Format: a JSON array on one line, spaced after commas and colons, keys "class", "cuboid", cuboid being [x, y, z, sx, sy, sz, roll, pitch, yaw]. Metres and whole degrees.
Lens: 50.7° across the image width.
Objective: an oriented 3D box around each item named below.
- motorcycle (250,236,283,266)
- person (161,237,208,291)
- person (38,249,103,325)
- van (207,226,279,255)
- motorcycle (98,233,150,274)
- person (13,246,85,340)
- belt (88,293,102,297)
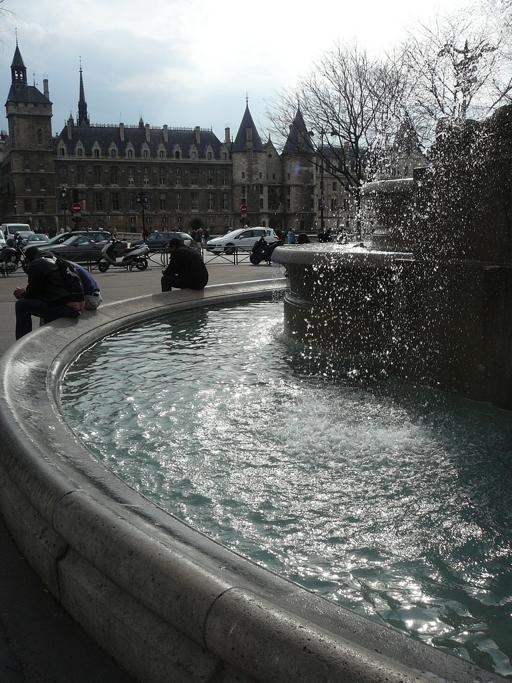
[{"class": "motorcycle", "cuboid": [0.387, -4.081, 24.364, 1.102, 1.246, 1.432, 2, 9, 18]}, {"class": "person", "cuboid": [-1.478, -1.330, 10.892, 0.971, 1.488, 0.769, 7, 17, 12]}, {"class": "person", "cuboid": [-2.522, -0.804, 7.563, 0.555, 0.829, 0.819, -12, 17, -27]}, {"class": "van", "cuboid": [-0.237, -6.322, 33.848, 4.459, 2.069, 2.804, 0, 11, -13]}, {"class": "motorcycle", "cuboid": [-5.736, -3.733, 23.388, 2.020, 1.389, 1.166, -1, 9, -2]}, {"class": "person", "cuboid": [-2.520, -0.613, 6.594, 0.822, 1.063, 0.626, -5, 9, -27]}, {"class": "belt", "cuboid": [-2.238, -0.642, 7.496, 0.088, 0.047, 0.121, -7, 5, -35]}]
